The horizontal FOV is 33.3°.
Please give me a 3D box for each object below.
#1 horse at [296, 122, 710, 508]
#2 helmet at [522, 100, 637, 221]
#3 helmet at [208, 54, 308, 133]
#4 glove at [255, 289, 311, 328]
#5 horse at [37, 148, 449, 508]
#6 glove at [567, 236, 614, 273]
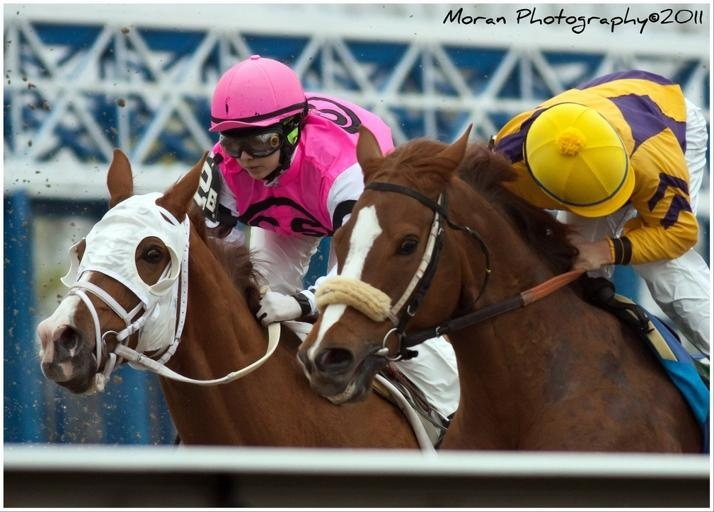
[{"bbox_3d":[0.821,0.164,3.987,0.694,1.430,1.926,-10,-19,43],"label":"horse"},{"bbox_3d":[0.788,-0.347,4.100,0.296,0.394,0.223,-34,-35,11],"label":"helmet"},{"bbox_3d":[-0.334,-0.652,4.543,0.451,0.247,0.342,-9,12,21],"label":"helmet"},{"bbox_3d":[-0.249,0.172,4.143,0.160,0.115,0.066,9,-42,-11],"label":"glove"},{"bbox_3d":[-0.410,0.491,4.453,0.612,1.283,2.075,21,3,38],"label":"horse"},{"bbox_3d":[0.830,-0.012,4.157,0.117,0.119,0.046,-3,-19,15],"label":"glove"}]
